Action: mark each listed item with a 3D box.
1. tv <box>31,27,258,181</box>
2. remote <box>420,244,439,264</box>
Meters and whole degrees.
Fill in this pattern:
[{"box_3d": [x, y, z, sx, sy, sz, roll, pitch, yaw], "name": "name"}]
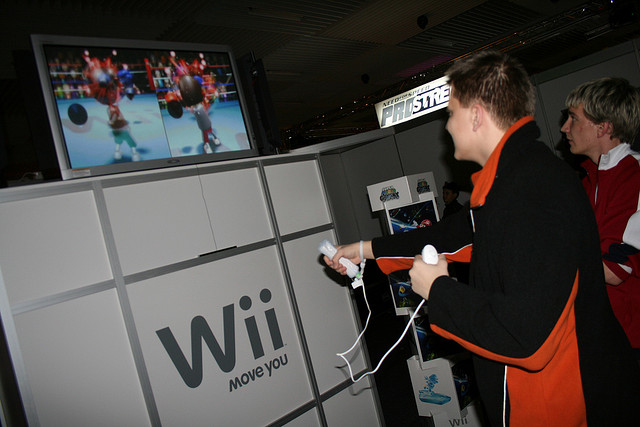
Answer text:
[{"box_3d": [-1.397, -0.825, 3.449, 1.385, 0.942, 0.101, -11, -12, -29], "name": "tv"}, {"box_3d": [0.561, 0.211, 2.173, 0.068, 0.095, 0.093, -8, 50, -5], "name": "remote"}]
